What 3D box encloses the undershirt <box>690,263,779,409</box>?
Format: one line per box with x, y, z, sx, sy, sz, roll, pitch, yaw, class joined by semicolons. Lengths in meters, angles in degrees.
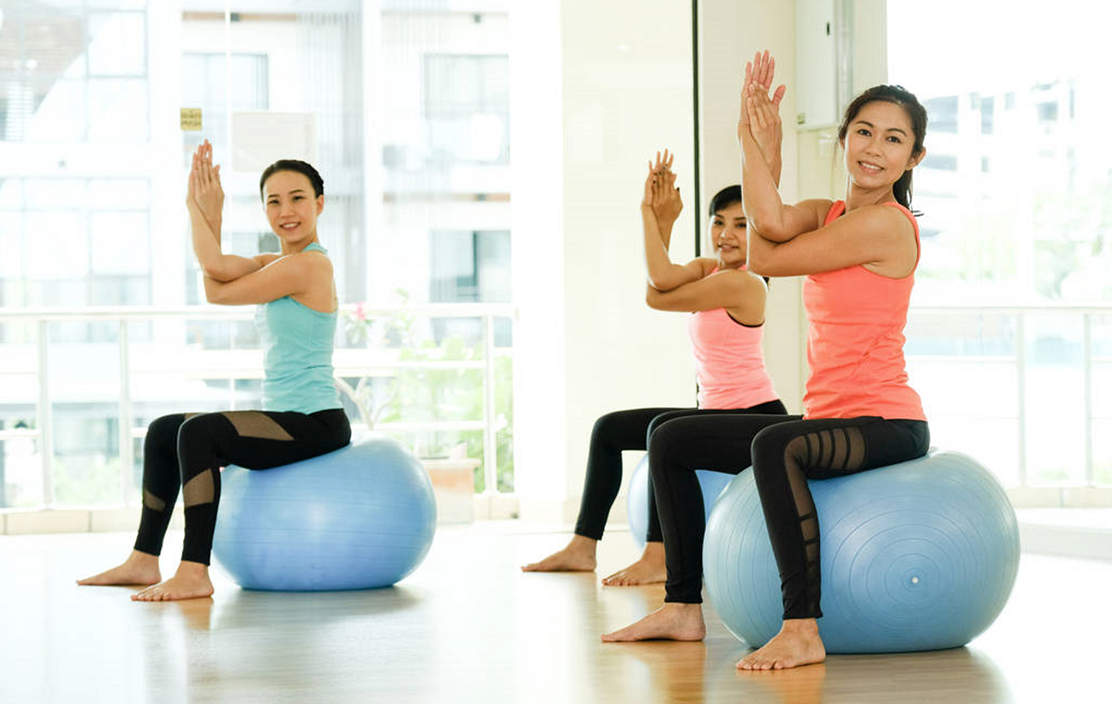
0.707;-0.037;4.544;0.361;0.495;0.404;-3;2;7;undershirt

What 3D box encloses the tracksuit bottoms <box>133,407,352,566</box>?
-1.267;0.534;4.553;0.949;0.623;0.651;-5;-3;-31;tracksuit bottoms

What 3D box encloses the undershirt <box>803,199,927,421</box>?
1.071;-0.083;3.731;0.427;0.774;0.572;2;-17;20;undershirt

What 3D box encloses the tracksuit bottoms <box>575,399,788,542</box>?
0.469;0.440;4.095;0.546;0.609;0.270;-2;32;12;tracksuit bottoms

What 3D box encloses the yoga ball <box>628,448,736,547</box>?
0.513;0.623;4.790;0.405;0.420;0.396;-8;0;0;yoga ball

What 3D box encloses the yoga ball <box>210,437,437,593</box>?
-0.995;0.686;4.809;1.041;0.585;0.983;1;-4;0;yoga ball

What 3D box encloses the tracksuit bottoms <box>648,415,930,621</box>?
0.852;0.589;3.873;1.101;0.722;0.971;-2;-7;35;tracksuit bottoms

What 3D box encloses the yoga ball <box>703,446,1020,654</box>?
1.015;0.659;3.580;0.756;0.404;0.770;3;-4;0;yoga ball
